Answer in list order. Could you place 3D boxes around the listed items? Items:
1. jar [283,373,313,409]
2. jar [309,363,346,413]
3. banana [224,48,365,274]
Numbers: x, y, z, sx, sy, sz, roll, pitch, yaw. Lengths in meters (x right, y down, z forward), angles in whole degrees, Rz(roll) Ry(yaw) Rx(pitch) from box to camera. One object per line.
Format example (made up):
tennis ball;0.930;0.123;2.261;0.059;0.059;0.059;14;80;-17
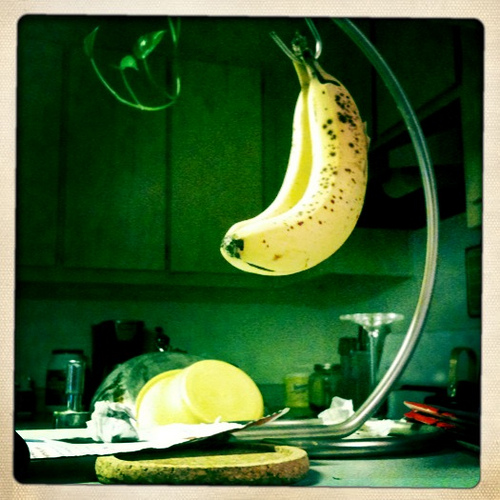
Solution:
jar;0.074;0.200;0.859;0.065;0.037;0.057;8;-16;-26
jar;0.104;0.187;0.845;0.046;0.055;0.052;2;-7;-2
banana;0.063;-0.127;0.838;0.189;0.316;0.071;1;-7;-2
